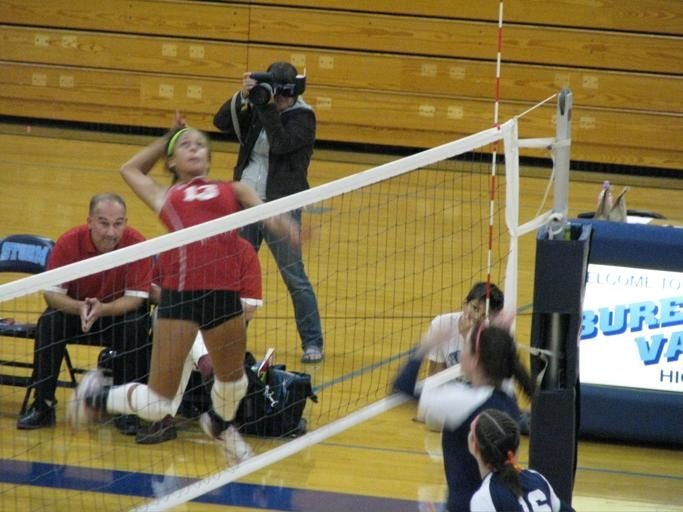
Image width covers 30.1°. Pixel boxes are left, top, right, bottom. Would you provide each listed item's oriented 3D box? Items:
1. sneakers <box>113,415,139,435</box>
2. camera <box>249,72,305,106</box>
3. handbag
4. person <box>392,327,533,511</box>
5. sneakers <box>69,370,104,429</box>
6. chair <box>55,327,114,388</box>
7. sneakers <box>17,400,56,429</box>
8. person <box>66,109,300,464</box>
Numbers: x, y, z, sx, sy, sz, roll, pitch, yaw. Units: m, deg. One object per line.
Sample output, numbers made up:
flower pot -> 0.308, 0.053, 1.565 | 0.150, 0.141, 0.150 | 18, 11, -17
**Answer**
sneakers -> -1.801, 1.413, 10.573 | 0.221, 0.221, 0.132 | 4, 2, 16
camera -> -0.630, -1.528, 11.483 | 0.660, 0.238, 0.611 | -13, 15, -39
handbag -> -0.602, 1.202, 10.373 | 0.779, 0.343, 0.803 | 2, 9, 8
person -> 0.950, 1.293, 9.668 | 0.747, 1.667, 0.827 | -22, 36, -39
sneakers -> -2.051, 1.160, 10.115 | 0.217, 0.402, 0.289 | -7, 41, -30
chair -> -2.159, 0.911, 10.817 | 0.635, 0.504, 0.373 | 3, 46, -9
sneakers -> -2.546, 1.342, 10.525 | 0.327, 0.209, 0.163 | 1, 1, -17
person -> -1.220, 0.306, 10.158 | 1.473, 2.178, 0.429 | 4, 1, -4
